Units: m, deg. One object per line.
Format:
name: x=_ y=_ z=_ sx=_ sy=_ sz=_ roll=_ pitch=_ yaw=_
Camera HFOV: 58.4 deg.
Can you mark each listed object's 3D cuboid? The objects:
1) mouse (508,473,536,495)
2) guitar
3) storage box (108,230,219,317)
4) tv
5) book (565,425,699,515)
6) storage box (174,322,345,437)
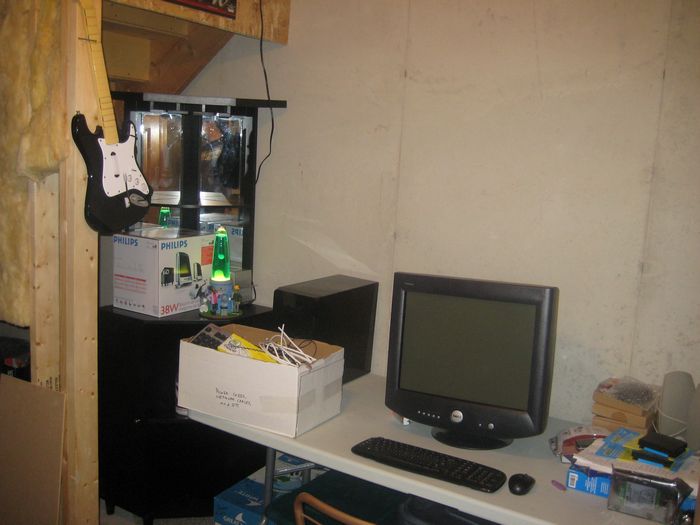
mouse: x=0.612 y=0.784 z=2.230 sx=0.077 sy=0.051 sz=0.120 roll=9 pitch=6 yaw=32
guitar: x=-0.995 y=-0.586 z=2.654 sx=0.118 sy=0.943 sz=0.344 roll=8 pitch=7 yaw=32
storage box: x=-0.976 y=0.039 z=3.300 sx=0.522 sy=0.382 sz=0.540 roll=2 pitch=8 yaw=-5
tv: x=0.473 y=0.406 z=2.470 sx=0.619 sy=0.652 sz=0.342 roll=4 pitch=2 yaw=26
book: x=0.984 y=0.720 z=2.200 sx=0.277 sy=0.070 sz=0.280 roll=7 pitch=12 yaw=39
storage box: x=-0.547 y=0.547 z=2.581 sx=0.608 sy=0.292 sz=0.337 roll=20 pitch=-35 yaw=-27
